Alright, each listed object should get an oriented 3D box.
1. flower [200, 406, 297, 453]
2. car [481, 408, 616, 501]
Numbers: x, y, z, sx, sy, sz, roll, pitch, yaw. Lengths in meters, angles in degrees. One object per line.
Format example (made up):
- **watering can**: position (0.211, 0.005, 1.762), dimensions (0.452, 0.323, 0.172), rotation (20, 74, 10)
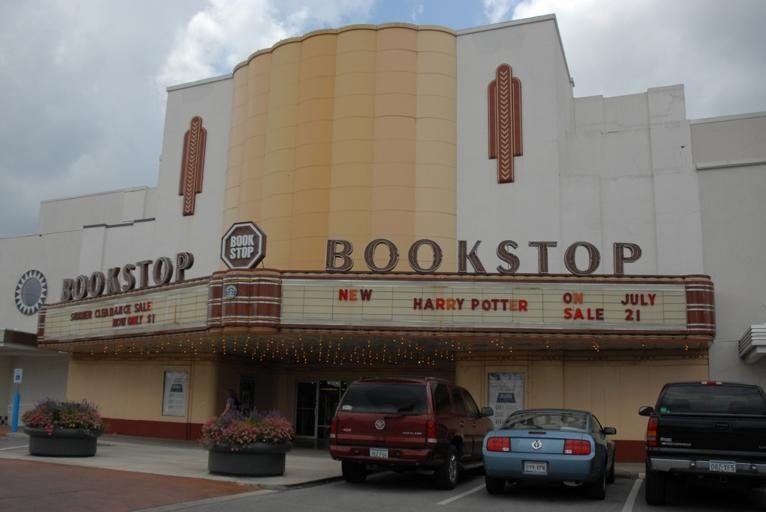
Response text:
- **flower**: position (-4.026, 5.171, 21.284), dimensions (1.566, 0.807, 1.406), rotation (-3, -6, 19)
- **car**: position (4.470, 5.520, 19.700), dimensions (3.401, 2.198, 2.481), rotation (2, 2, 8)
